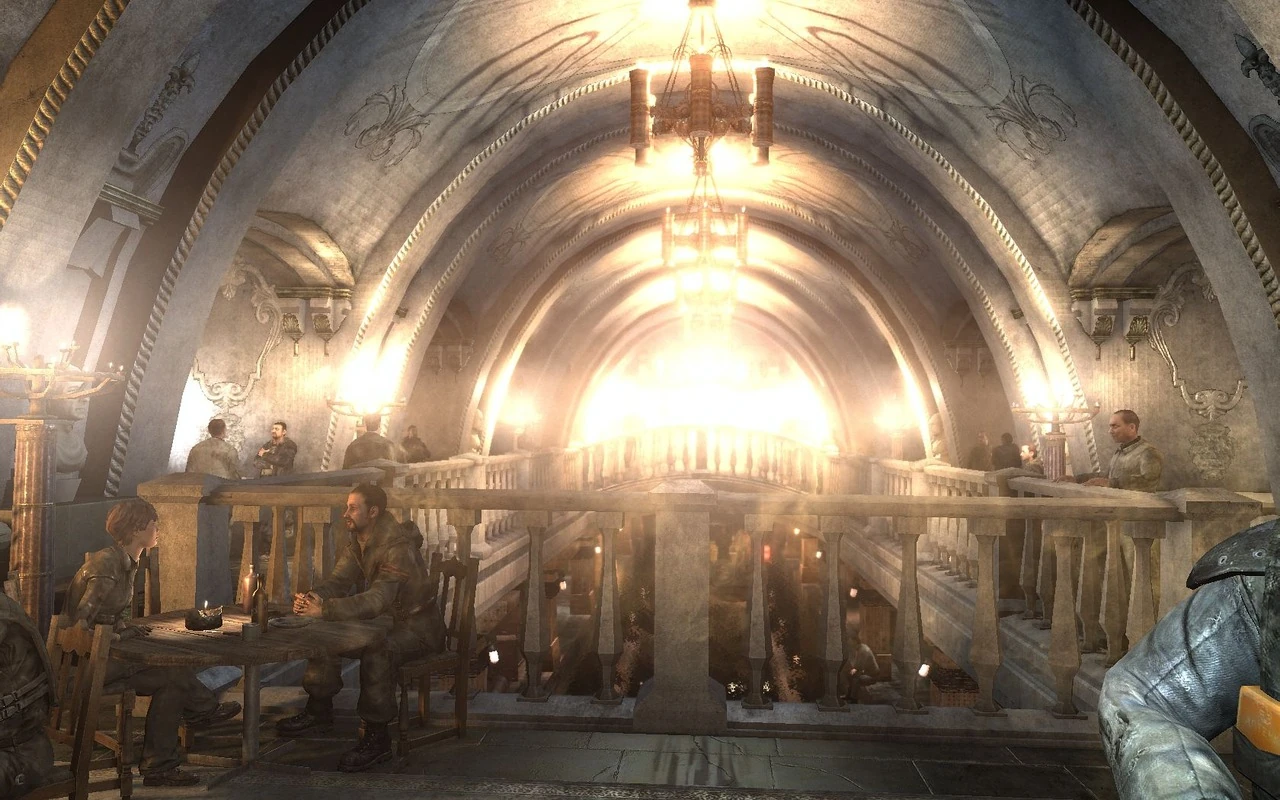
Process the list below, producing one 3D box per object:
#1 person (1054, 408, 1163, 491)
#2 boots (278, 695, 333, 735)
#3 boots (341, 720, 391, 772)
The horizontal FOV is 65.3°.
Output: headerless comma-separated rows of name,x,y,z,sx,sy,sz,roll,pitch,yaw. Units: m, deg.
person,4.799,0.553,10.031,0.671,0.872,1.164,-4,-2,-3
boots,-2.511,2.394,7.502,0.460,0.278,0.159,6,-8,-22
boots,-1.963,2.455,7.079,0.228,0.318,0.334,-7,-15,25
